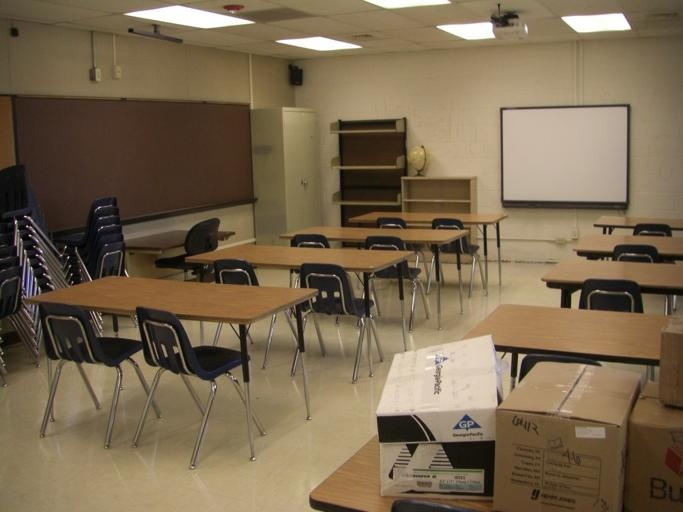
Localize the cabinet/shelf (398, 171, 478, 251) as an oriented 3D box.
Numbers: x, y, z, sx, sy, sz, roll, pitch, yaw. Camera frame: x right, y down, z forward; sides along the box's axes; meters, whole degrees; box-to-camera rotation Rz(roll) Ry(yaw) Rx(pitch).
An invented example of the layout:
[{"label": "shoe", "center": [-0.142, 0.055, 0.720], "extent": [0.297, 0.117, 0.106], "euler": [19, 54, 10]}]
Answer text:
[{"label": "cabinet/shelf", "center": [1.516, -0.702, 8.338], "extent": [1.453, 1.426, 0.444], "euler": [0, 3, 19]}]

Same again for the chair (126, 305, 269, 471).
[{"label": "chair", "center": [-0.977, 0.800, 3.720], "extent": [0.621, 1.011, 0.785], "euler": [7, 9, 40]}]

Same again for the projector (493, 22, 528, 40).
[{"label": "projector", "center": [2.082, -2.788, 6.745], "extent": [0.400, 0.181, 0.310], "euler": [1, 12, 14]}]

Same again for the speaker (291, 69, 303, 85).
[{"label": "speaker", "center": [-0.862, -3.334, 10.190], "extent": [0.207, 0.270, 0.306], "euler": [0, 12, 10]}]
